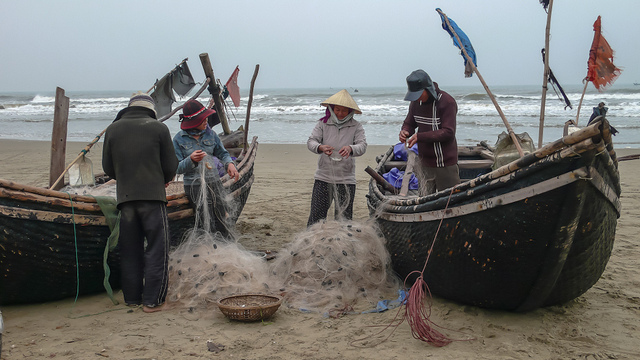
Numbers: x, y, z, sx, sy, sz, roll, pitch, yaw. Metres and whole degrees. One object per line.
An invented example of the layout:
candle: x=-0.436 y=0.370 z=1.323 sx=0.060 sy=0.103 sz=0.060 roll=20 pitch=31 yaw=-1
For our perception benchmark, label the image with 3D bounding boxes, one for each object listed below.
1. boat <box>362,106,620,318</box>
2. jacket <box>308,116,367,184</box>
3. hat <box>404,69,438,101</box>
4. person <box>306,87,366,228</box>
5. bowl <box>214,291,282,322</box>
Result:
boat: x=2.668 y=0.795 z=7.930 sx=3.110 sy=2.038 sz=5.479 roll=3 pitch=-9 yaw=0
jacket: x=0.273 y=-0.416 z=7.916 sx=0.752 sy=0.938 sz=0.477 roll=8 pitch=12 yaw=35
hat: x=1.357 y=-1.322 z=7.597 sx=0.374 sy=0.362 sz=0.568 roll=11 pitch=42 yaw=34
person: x=0.261 y=-0.296 z=7.936 sx=0.753 sy=1.994 sz=0.562 roll=9 pitch=13 yaw=39
bowl: x=-0.904 y=1.590 z=6.865 sx=0.834 sy=0.263 sz=0.479 roll=0 pitch=9 yaw=-6
